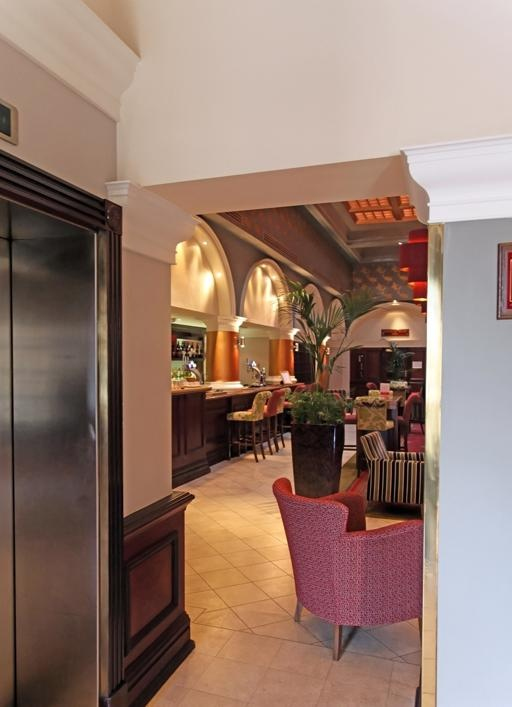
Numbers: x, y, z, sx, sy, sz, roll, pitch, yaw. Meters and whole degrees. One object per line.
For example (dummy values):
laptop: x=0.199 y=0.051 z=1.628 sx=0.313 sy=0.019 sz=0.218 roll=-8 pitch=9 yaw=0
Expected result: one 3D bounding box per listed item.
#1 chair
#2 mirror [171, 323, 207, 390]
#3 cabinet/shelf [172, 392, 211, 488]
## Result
chair: x=0.309 y=0.841 z=2.733 sx=0.774 sy=1.059 sz=0.783 roll=0 pitch=-1 yaw=-21
mirror: x=-1.066 y=-0.033 z=8.264 sx=0.531 sy=0.957 sz=2.110 roll=2 pitch=-2 yaw=-5
cabinet/shelf: x=-0.801 y=0.996 z=6.466 sx=0.250 sy=1.109 sz=0.981 roll=2 pitch=-2 yaw=12
